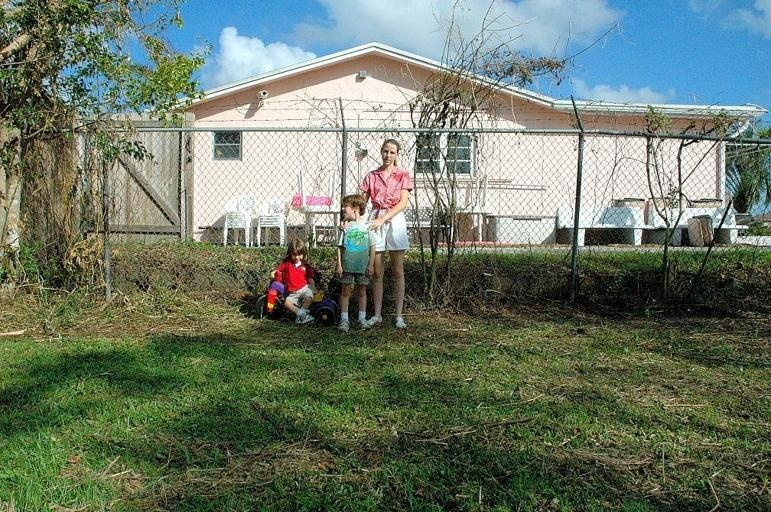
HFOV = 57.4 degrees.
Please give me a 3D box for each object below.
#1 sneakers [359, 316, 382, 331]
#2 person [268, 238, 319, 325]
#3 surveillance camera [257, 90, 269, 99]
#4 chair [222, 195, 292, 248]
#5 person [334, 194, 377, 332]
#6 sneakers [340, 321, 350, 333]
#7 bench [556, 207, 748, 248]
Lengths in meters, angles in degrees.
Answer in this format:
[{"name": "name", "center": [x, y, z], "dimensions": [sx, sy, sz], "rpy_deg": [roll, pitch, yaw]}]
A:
[{"name": "sneakers", "center": [-0.164, 0.742, 7.966], "dimensions": [0.106, 0.117, 0.287], "rpy_deg": [-5, -5, 37]}, {"name": "person", "center": [-1.074, 0.271, 8.240], "dimensions": [0.504, 0.941, 0.568], "rpy_deg": [1, 9, 13]}, {"name": "surveillance camera", "center": [-2.419, -3.201, 13.954], "dimensions": [0.253, 0.175, 0.141], "rpy_deg": [-6, 15, -26]}, {"name": "chair", "center": [-2.176, -0.670, 11.983], "dimensions": [1.189, 1.159, 0.934], "rpy_deg": [0, -6, -8]}, {"name": "person", "center": [-0.330, 0.059, 7.910], "dimensions": [0.423, 1.446, 0.578], "rpy_deg": [0, 13, -4]}, {"name": "sneakers", "center": [-0.455, 0.776, 7.817], "dimensions": [0.101, 0.087, 0.199], "rpy_deg": [0, -3, 1]}, {"name": "bench", "center": [4.823, -0.542, 13.149], "dimensions": [3.183, 0.845, 1.253], "rpy_deg": [1, 13, 3]}]
